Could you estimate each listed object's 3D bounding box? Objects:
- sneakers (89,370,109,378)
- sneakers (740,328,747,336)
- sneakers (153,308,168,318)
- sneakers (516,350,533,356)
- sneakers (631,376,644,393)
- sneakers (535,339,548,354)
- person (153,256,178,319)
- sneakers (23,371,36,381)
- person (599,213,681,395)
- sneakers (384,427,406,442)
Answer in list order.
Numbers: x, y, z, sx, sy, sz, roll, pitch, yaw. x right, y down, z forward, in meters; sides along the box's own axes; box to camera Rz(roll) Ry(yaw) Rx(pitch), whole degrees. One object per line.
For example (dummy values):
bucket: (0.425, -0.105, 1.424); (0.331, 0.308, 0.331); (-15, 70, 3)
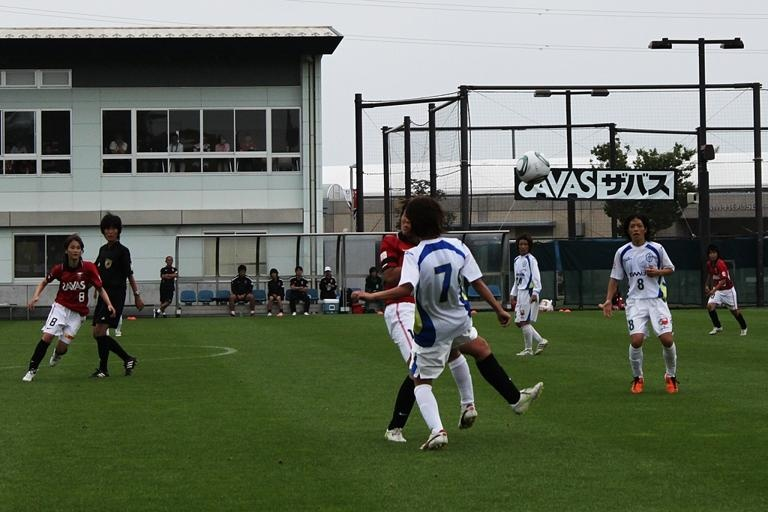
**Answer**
sneakers: (-5.216, 2.135, 21.589); (0.361, 0.136, 0.119); (2, 7, 11)
sneakers: (8.676, 1.818, 28.566); (0.126, 0.150, 0.367); (-2, -3, 26)
sneakers: (-7.153, 1.779, 37.568); (0.203, 0.241, 0.579); (4, 5, -1)
sneakers: (2.912, 1.989, 24.476); (0.400, 0.160, 0.130); (1, -3, 9)
sneakers: (4.287, 2.184, 20.105); (0.189, 0.253, 0.222); (-1, 1, 14)
sneakers: (3.259, 1.880, 24.595); (0.216, 0.427, 0.157); (12, 39, -10)
person: (-6.945, 0.932, 37.566); (0.763, 1.895, 1.357); (-1, 1, -11)
sneakers: (-6.370, 2.135, 21.163); (0.122, 0.138, 0.331); (7, 3, -15)
person: (4.394, 0.790, 20.204); (1.145, 3.037, 0.543); (-1, 1, 12)
sneakers: (0.158, 2.666, 17.543); (0.143, 0.143, 0.344); (-2, -3, -32)
